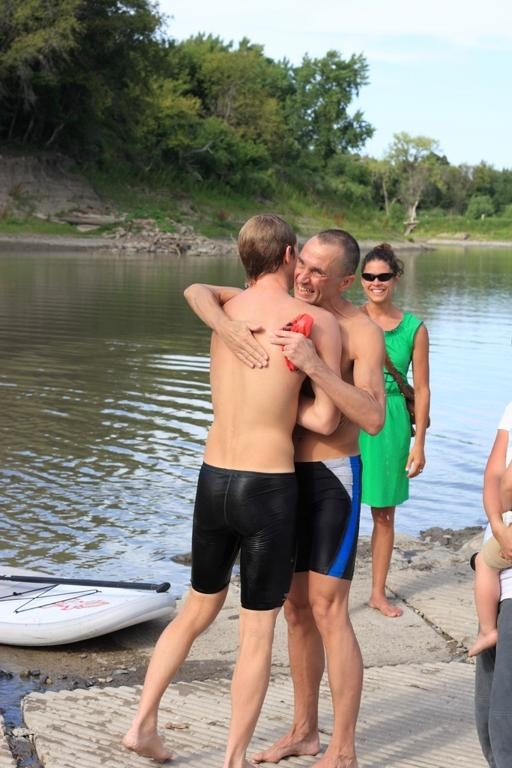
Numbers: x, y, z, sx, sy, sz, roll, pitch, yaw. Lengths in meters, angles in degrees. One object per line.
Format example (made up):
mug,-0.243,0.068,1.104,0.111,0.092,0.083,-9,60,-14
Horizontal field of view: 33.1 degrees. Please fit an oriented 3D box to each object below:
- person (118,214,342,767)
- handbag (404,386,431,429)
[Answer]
person,-0.062,0.420,3.207,0.608,2.068,0.834,8,14,13
handbag,0.943,0.130,5.178,0.088,0.229,0.186,-7,9,-33
